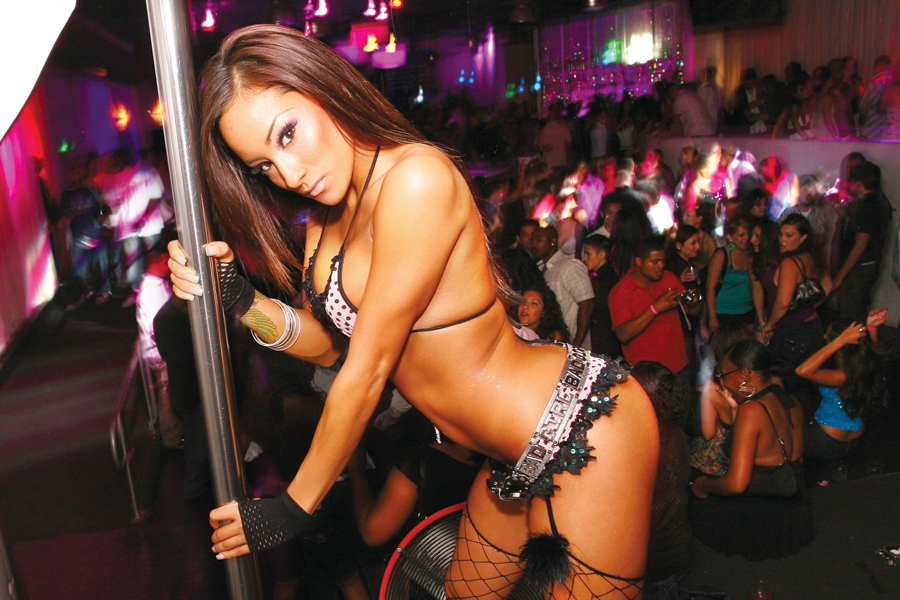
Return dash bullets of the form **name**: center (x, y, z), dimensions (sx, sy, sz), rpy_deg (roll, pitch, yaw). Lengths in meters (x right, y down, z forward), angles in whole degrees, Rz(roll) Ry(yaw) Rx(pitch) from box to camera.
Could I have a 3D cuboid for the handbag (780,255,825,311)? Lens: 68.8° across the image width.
- **handbag**: center (2.647, -0.128, 4.959), dimensions (0.317, 0.400, 0.112), rpy_deg (-15, 0, -32)
